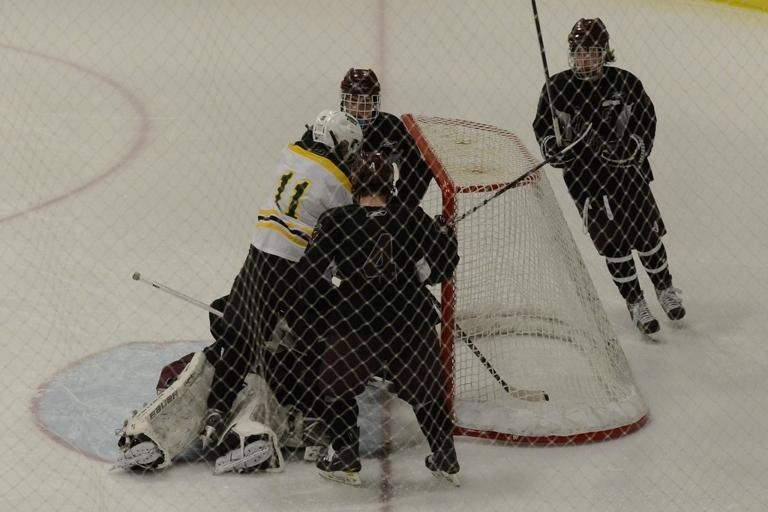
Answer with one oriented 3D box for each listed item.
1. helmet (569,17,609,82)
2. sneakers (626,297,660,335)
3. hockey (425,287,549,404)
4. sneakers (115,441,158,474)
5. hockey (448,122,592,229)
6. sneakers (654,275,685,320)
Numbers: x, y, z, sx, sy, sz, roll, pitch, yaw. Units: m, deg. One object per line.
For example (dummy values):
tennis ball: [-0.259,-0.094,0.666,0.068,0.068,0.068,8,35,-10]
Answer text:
helmet: [1.391,-1.421,6.339,0.277,0.350,0.382,-2,21,29]
sneakers: [1.905,0.406,6.876,0.114,0.149,0.364,-29,19,7]
hockey: [0.758,0.660,6.100,0.658,0.499,0.204,4,20,35]
sneakers: [-1.481,1.196,5.559,0.241,0.148,0.064,-19,15,-1]
hockey: [0.909,-0.562,6.366,0.141,1.086,0.093,27,20,-34]
sneakers: [2.110,0.328,6.893,0.148,0.156,0.390,-24,38,11]
